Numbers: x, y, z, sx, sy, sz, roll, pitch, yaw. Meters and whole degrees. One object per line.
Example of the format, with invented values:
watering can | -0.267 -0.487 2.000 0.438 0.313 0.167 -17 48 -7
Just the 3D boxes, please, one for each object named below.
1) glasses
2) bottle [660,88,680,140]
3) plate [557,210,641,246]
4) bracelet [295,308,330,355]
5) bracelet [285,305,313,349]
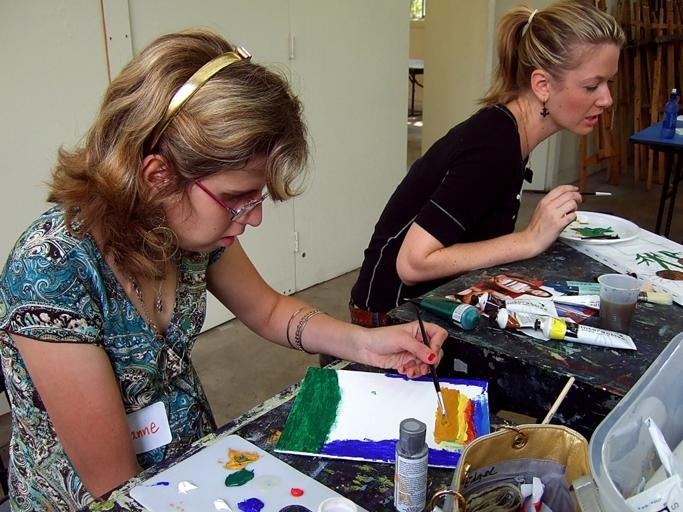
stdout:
glasses | -0.239 -0.128 1.171 0.093 0.027 0.090 38 26 8
bottle | 2.502 -1.100 4.162 0.103 0.342 0.499 7 22 30
plate | 0.905 -0.098 1.913 0.178 0.020 0.182 15 36 41
bracelet | -0.078 0.222 1.551 0.026 0.107 0.108 4 18 15
bracelet | -0.126 0.207 1.551 0.025 0.109 0.103 0 47 26
